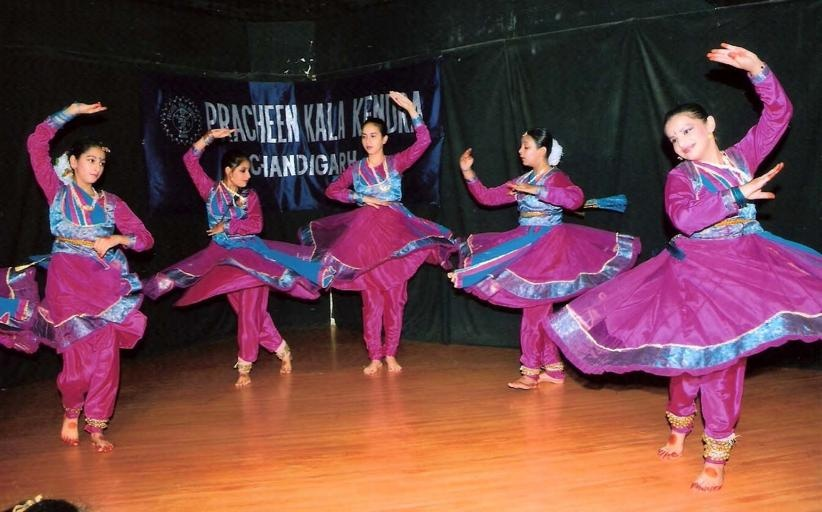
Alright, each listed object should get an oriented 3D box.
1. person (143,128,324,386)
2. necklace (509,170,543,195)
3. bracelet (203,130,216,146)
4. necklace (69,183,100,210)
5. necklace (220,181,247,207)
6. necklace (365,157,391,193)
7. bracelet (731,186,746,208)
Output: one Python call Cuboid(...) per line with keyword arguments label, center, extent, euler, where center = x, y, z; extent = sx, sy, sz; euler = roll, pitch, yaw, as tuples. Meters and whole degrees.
Cuboid(label="person", center=(-1.480, 0.009, 5.604), extent=(1.300, 2.180, 0.569), euler=(-5, 10, -8))
Cuboid(label="necklace", center=(0.852, -0.531, 5.053), extent=(0.247, 0.077, 0.237), euler=(-7, 1, 0))
Cuboid(label="bracelet", center=(-1.739, -1.040, 5.678), extent=(0.121, 0.151, 0.071), euler=(1, -5, -8))
Cuboid(label="necklace", center=(-2.351, -0.427, 4.716), extent=(0.163, 0.194, 0.060), euler=(-10, -21, -37))
Cuboid(label="necklace", center=(-1.526, -0.510, 5.668), extent=(0.156, 0.219, 0.090), euler=(-40, -17, -24))
Cuboid(label="necklace", center=(-0.271, -0.698, 5.651), extent=(0.183, 0.233, 0.056), euler=(-13, 1, 3))
Cuboid(label="bracelet", center=(1.904, -0.349, 3.851), extent=(0.045, 0.110, 0.095), euler=(-33, 4, -1))
